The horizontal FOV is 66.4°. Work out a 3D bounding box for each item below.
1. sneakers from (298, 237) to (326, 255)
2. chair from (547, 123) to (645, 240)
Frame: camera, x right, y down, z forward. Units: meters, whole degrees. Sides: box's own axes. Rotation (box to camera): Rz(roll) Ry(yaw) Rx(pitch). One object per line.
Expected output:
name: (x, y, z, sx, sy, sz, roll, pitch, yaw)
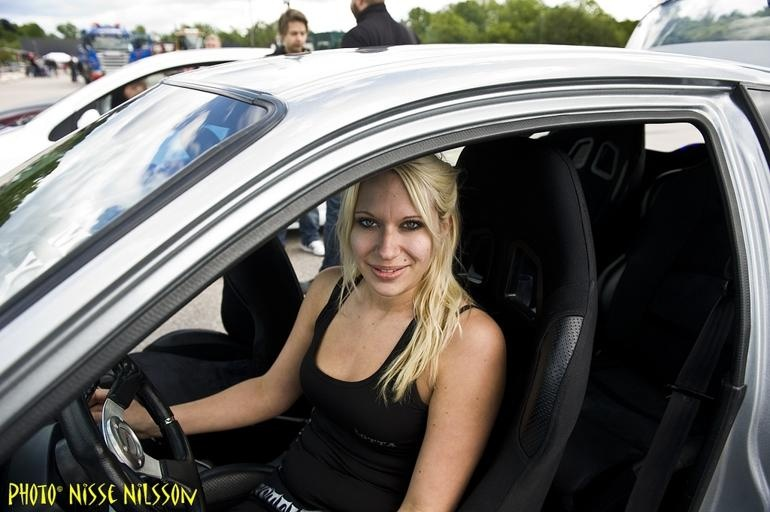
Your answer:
sneakers: (-0.626, -0.080, 5.125, 0.109, 0.123, 0.277, -17, 21, -39)
chair: (0.749, -0.282, 2.095, 0.229, 0.344, 0.300, 23, 7, 37)
